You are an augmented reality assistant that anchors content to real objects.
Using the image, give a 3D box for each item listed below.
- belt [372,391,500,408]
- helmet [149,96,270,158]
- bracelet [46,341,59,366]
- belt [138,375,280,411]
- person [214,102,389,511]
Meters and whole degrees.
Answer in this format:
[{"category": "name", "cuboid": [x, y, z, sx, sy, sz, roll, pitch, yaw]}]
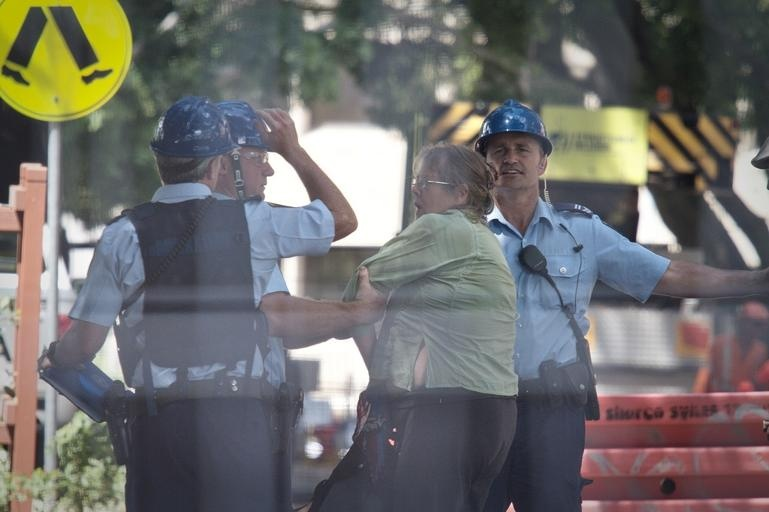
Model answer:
[{"category": "belt", "cuboid": [0.254, 0.657, 10.281, 0.641, 0.082, 0.112, -1, -2, 2]}, {"category": "helmet", "cuboid": [-0.833, -0.634, 10.372, 0.422, 0.192, 0.308, -5, 7, -33]}, {"category": "bracelet", "cuboid": [-1.570, 0.452, 10.303, 0.022, 0.091, 0.091, 4, -7, -3]}, {"category": "belt", "cuboid": [-0.804, 0.625, 10.208, 0.625, 0.144, 0.072, 0, -2, -3]}, {"category": "person", "cuboid": [-0.373, 0.097, 10.443, 1.047, 1.754, 0.527, -15, -7, 32]}]
